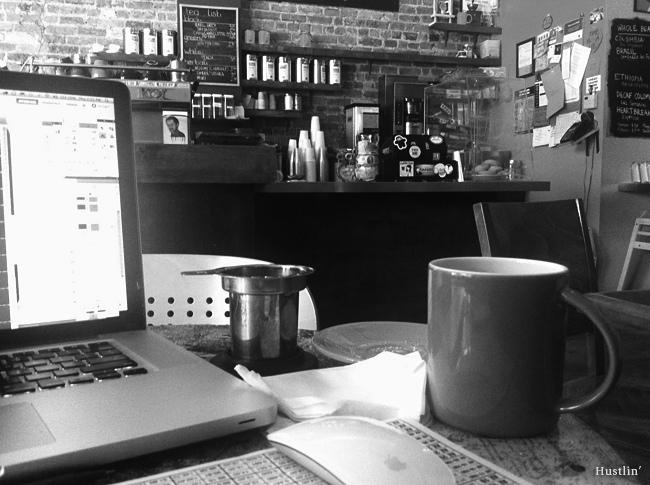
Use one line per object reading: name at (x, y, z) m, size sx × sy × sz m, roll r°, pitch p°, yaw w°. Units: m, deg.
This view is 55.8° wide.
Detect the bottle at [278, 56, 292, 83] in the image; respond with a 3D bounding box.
bottle at (-0.309, -1.322, 4.719) m, size 0.114 × 0.199 × 0.121 m, roll 3°, pitch 9°, yaw 0°

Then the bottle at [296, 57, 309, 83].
bottle at (-0.173, -1.319, 4.740) m, size 0.096 × 0.188 × 0.067 m, roll -1°, pitch 9°, yaw -21°

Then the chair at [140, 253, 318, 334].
chair at (-0.271, 0.101, 1.338) m, size 0.184 × 0.178 × 0.245 m, roll 0°, pitch -5°, yaw -1°

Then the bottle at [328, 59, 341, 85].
bottle at (0.078, -1.343, 4.856) m, size 0.106 × 0.206 × 0.100 m, roll 3°, pitch 9°, yaw 0°

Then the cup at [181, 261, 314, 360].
cup at (-0.104, 0.075, 0.803) m, size 0.153 × 0.108 × 0.114 m, roll -2°, pitch 5°, yaw -19°

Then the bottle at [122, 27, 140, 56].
bottle at (-1.420, -1.444, 4.424) m, size 0.147 × 0.194 × 0.127 m, roll 4°, pitch 9°, yaw 9°

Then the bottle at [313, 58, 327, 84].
bottle at (-0.030, -1.334, 4.818) m, size 0.119 × 0.202 × 0.113 m, roll 3°, pitch 9°, yaw 0°

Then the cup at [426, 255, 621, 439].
cup at (0.202, 0.109, 0.706) m, size 0.211 × 0.163 × 0.135 m, roll 4°, pitch 4°, yaw 43°

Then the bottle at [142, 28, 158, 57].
bottle at (-1.272, -1.454, 4.458) m, size 0.116 × 0.195 × 0.132 m, roll 0°, pitch 9°, yaw -15°
